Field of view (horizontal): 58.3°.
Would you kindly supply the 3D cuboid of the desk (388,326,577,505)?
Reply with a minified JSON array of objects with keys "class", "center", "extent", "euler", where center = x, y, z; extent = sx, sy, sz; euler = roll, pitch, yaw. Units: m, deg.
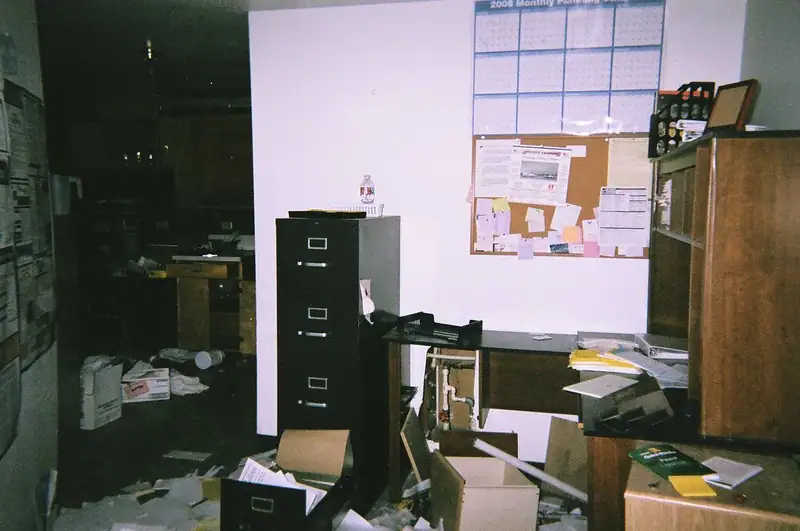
[{"class":"desk","center":[0.549,1.005,4.817],"extent":[1.334,1.020,0.515],"euler":[0,-4,9]}]

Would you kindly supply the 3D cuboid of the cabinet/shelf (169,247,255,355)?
[{"class":"cabinet/shelf","center":[-1.923,0.405,7.356],"extent":[1.269,1.035,0.620],"euler":[0,0,4]}]

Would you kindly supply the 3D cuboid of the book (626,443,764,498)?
[{"class":"book","center":[1.511,1.036,3.657],"extent":[0.317,0.052,0.316],"euler":[-4,7,-36]}]

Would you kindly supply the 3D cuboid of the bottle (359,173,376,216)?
[{"class":"bottle","center":[-0.235,-0.516,5.246],"extent":[0.115,0.296,0.138],"euler":[-2,7,-9]}]

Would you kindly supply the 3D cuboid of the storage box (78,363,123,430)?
[{"class":"storage box","center":[-2.416,1.061,5.822],"extent":[0.145,0.468,0.376],"euler":[4,8,33]}]

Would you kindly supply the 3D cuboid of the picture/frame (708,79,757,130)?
[{"class":"picture/frame","center":[1.948,-0.938,4.213],"extent":[0.062,0.411,0.372],"euler":[17,-25,-9]}]
